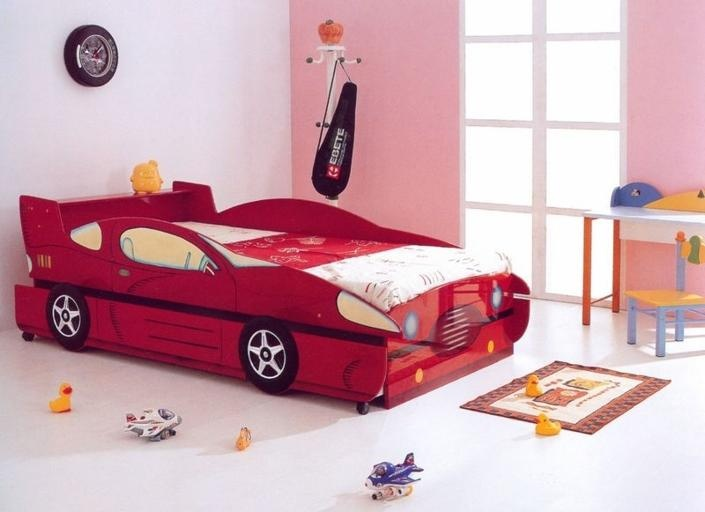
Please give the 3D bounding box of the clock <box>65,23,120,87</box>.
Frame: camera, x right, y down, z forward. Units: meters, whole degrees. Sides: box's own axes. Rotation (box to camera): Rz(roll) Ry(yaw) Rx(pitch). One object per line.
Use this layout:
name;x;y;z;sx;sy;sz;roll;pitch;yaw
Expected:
clock;-1.950;-1.486;4.478;0.106;0.439;0.370;9;16;41

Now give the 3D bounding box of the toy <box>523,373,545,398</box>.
toy;0.987;0.701;3.271;0.092;0.113;0.108;-1;-3;-21

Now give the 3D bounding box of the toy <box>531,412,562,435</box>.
toy;0.914;0.786;2.808;0.111;0.074;0.102;3;12;18

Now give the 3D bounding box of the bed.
bed;-0.622;0.099;3.939;3.264;1.032;1.280;5;13;27

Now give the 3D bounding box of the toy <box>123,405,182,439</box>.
toy;-0.944;0.776;2.824;0.185;0.102;0.155;-1;9;-14

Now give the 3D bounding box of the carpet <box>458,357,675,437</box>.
carpet;1.161;0.728;3.223;1.119;0.029;0.626;-11;15;-39

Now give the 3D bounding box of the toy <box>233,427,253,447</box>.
toy;-0.507;0.819;2.744;0.038;0.091;0.067;11;-21;36

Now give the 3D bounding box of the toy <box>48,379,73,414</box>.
toy;-1.553;0.718;3.183;0.123;0.138;0.260;-7;13;-26

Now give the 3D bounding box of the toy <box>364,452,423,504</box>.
toy;0.163;0.859;2.364;0.166;0.093;0.174;-8;7;-40
